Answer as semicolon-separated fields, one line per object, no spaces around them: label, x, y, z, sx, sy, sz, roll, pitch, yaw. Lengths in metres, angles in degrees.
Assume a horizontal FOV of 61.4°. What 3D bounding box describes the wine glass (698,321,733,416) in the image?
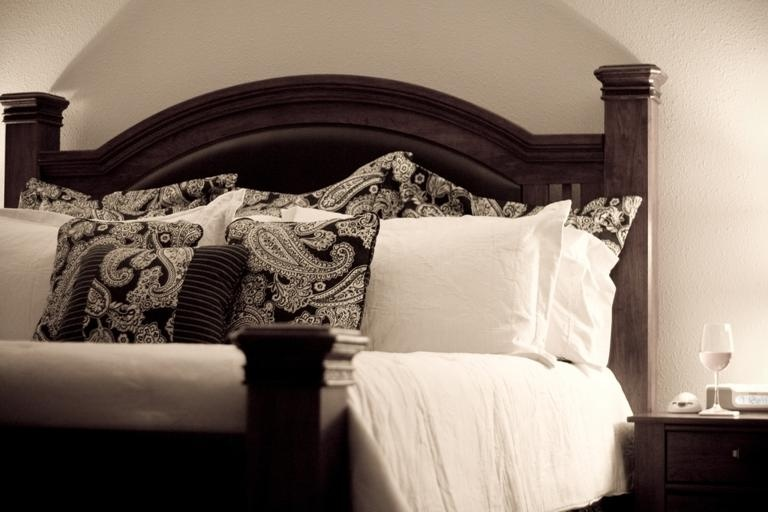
wine glass;1.313;0.434;2.542;0.119;0.356;0.438;-2;-9;28
